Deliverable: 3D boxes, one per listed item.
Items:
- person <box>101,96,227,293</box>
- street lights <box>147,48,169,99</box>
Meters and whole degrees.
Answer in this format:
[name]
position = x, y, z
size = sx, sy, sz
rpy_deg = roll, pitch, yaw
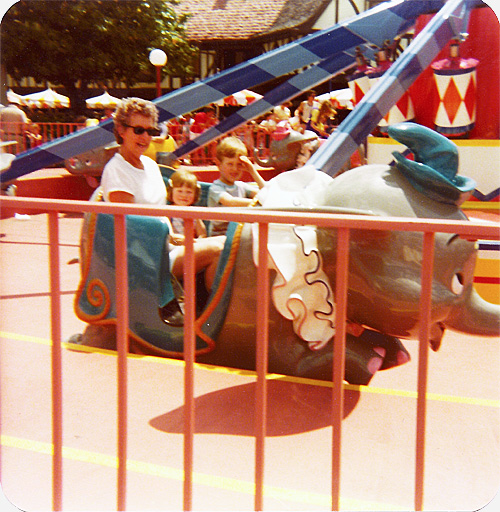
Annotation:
[person]
position = -0.390, -0.261, 2.597
size = 0.588, 0.763, 0.456
rpy_deg = 7, 19, 6
[street lights]
position = -1.432, -2.784, 9.192
size = 0.346, 0.825, 0.284
rpy_deg = 10, 21, 16
